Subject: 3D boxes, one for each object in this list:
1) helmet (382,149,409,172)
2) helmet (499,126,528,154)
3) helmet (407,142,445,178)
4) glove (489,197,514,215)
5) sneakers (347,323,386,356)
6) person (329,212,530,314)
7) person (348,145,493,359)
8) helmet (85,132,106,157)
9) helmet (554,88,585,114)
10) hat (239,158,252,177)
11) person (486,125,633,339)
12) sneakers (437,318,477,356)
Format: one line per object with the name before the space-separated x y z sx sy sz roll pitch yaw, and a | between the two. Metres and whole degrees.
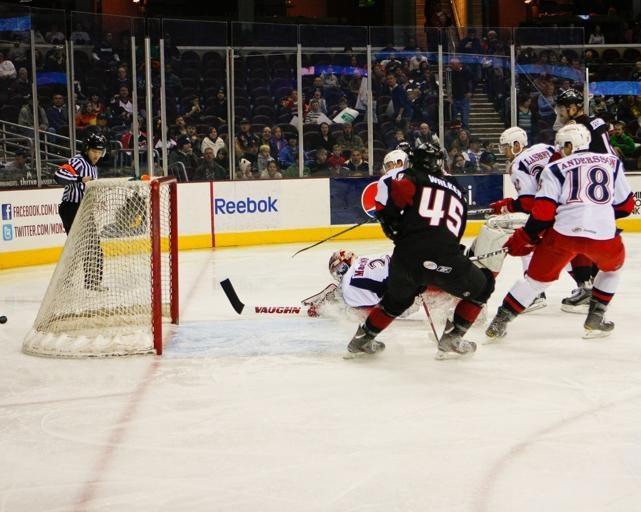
helmet | 0.636 -0.798 6.482 0.256 0.194 0.200 8 10 33
helmet | 1.559 -0.939 6.234 0.284 0.193 0.198 13 7 20
helmet | 0.689 -0.607 4.786 0.254 0.200 0.185 -11 33 -35
glove | 1.378 -0.386 5.909 0.113 0.101 0.191 12 -24 -40
sneakers | 0.356 0.547 5.073 0.374 0.205 0.116 -6 22 -28
person | 0.654 0.116 5.545 1.348 0.450 0.772 -14 4 24
person | 0.623 -0.036 4.952 1.094 1.300 0.735 8 1 13
helmet | -2.154 -1.066 7.275 0.185 0.157 0.249 -5 11 -18
helmet | 1.991 -1.227 6.060 0.190 0.171 0.283 2 11 13
hat | -1.032 -1.218 10.598 0.285 0.222 0.181 7 7 -8
person | 1.779 -0.174 5.345 1.196 1.473 0.426 -8 14 -27
sneakers | 0.892 0.536 4.961 0.349 0.217 0.109 6 8 -33
